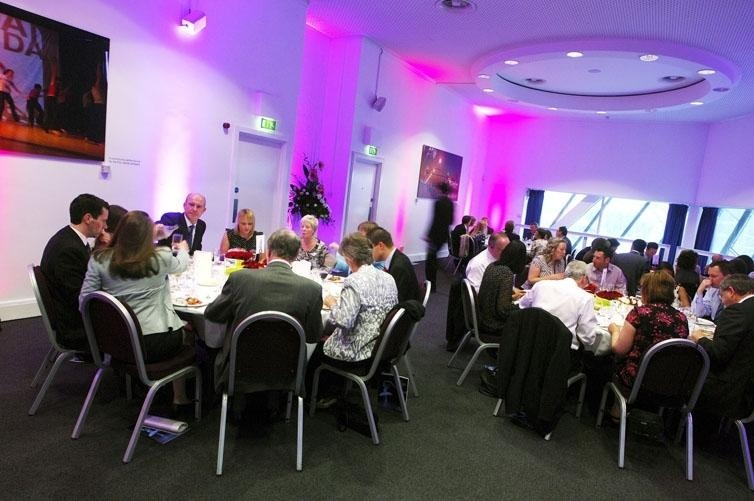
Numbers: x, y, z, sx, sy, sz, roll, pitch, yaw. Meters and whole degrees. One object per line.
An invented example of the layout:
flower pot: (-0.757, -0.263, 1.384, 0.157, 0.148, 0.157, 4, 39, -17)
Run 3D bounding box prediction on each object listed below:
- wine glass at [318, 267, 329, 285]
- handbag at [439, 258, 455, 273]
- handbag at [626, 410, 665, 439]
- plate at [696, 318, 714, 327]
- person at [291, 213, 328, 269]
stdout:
wine glass: (-0.571, 0.277, 5.212, 0.112, 0.047, 0.176, 23, 23, -5)
handbag: (1.669, 0.359, 11.439, 0.435, 0.111, 0.321, 18, 3, 0)
handbag: (2.495, 1.558, 4.489, 0.347, 0.253, 0.265, 3, 2, 24)
plate: (3.602, 0.811, 5.316, 0.153, 0.043, 0.160, 3, -1, 14)
person: (-0.824, -0.008, 5.678, 0.493, 0.797, 0.418, 1, 5, 5)
